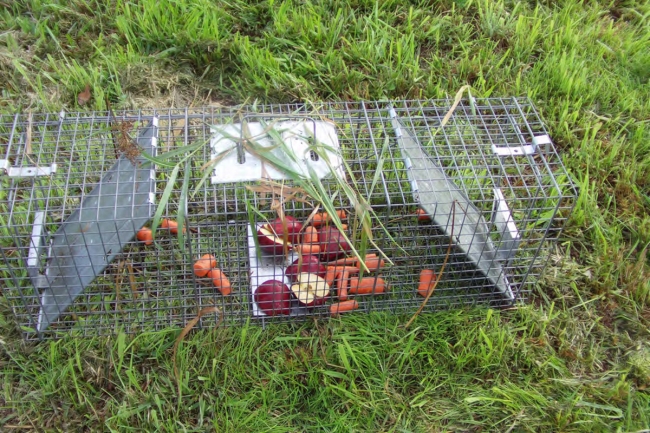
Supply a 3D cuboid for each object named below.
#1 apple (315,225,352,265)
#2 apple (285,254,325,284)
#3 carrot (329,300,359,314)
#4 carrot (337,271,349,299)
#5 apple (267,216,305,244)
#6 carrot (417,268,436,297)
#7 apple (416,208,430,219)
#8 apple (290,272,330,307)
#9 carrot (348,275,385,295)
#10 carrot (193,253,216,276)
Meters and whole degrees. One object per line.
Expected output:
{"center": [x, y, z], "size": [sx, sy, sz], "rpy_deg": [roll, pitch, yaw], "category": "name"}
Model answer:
{"center": [0.046, 0.177, 3.869], "size": [0.231, 0.243, 0.169], "rpy_deg": [-33, 56, -18], "category": "apple"}
{"center": [-0.124, 0.312, 3.794], "size": [0.201, 0.173, 0.131], "rpy_deg": [-16, 71, 4], "category": "apple"}
{"center": [0.120, 0.573, 3.829], "size": [0.227, 0.071, 0.076], "rpy_deg": [-8, 81, -14], "category": "carrot"}
{"center": [0.110, 0.437, 3.829], "size": [0.060, 0.163, 0.200], "rpy_deg": [1, 94, -1], "category": "carrot"}
{"center": [-0.242, 0.072, 3.844], "size": [0.170, 0.176, 0.175], "rpy_deg": [-10, 51, -3], "category": "apple"}
{"center": [0.648, 0.425, 3.876], "size": [0.095, 0.055, 0.179], "rpy_deg": [12, 86, 28], "category": "carrot"}
{"center": [0.623, -0.014, 3.863], "size": [0.087, 0.064, 0.071], "rpy_deg": [-1, 95, 7], "category": "apple"}
{"center": [-0.087, 0.456, 3.814], "size": [0.208, 0.099, 0.212], "rpy_deg": [19, 87, -5], "category": "apple"}
{"center": [0.269, 0.442, 3.830], "size": [0.195, 0.099, 0.108], "rpy_deg": [-1, 57, -2], "category": "carrot"}
{"center": [-0.771, 0.308, 3.830], "size": [0.078, 0.130, 0.081], "rpy_deg": [-27, 102, 22], "category": "carrot"}
